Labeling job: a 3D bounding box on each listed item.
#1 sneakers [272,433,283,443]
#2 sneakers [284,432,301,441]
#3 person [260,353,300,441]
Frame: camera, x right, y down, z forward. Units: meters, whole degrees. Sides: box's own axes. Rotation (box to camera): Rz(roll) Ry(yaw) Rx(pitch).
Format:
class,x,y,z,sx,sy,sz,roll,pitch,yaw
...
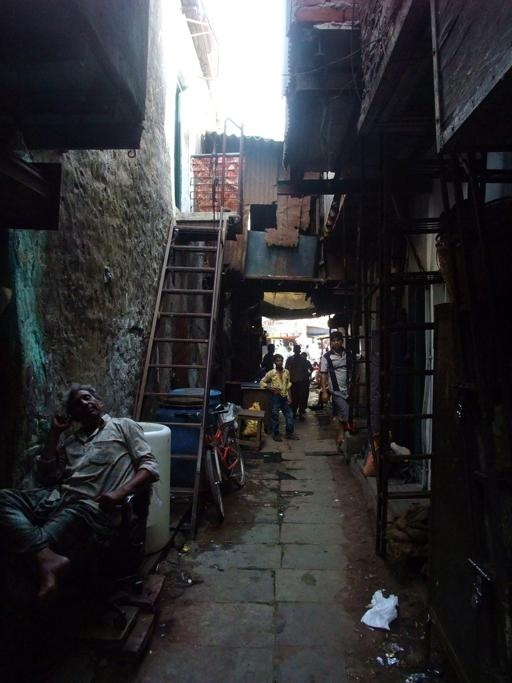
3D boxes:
class,x,y,z,sx,sy,sz,roll,pitch,yaw
sneakers,0.394,1.703,8.830,0.160,0.214,0.081,-4,-4,35
sneakers,0.660,1.687,8.953,0.271,0.154,0.110,1,5,12
person,0.423,1.017,9.521,0.581,1.517,1.768,0,-1,3
